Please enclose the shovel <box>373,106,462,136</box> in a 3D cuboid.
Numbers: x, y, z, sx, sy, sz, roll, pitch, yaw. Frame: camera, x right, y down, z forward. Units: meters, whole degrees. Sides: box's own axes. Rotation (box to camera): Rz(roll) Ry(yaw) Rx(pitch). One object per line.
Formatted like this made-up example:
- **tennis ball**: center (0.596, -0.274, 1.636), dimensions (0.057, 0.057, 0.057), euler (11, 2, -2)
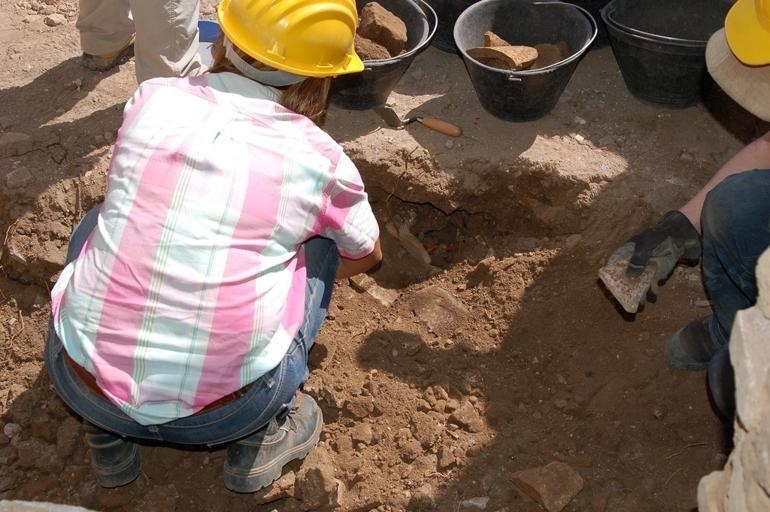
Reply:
- **shovel**: center (0.179, -0.746, 4.021), dimensions (0.597, 0.112, 0.167), euler (18, 54, 29)
